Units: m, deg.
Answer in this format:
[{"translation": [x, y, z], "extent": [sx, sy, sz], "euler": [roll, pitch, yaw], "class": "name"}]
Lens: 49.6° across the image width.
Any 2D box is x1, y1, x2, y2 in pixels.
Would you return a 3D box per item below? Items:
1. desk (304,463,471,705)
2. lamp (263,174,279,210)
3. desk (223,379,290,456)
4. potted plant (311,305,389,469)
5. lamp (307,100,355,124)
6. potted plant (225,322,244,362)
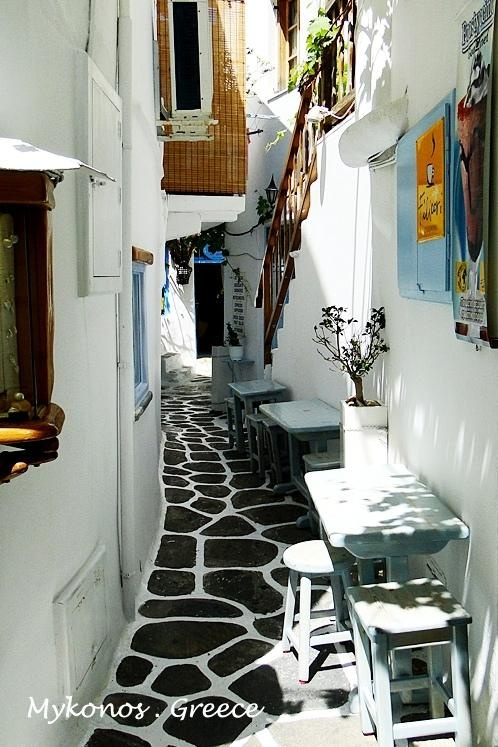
[{"translation": [0.678, 1.010, 2.678], "extent": [0.394, 0.596, 0.807], "euler": [-3, 14, -3], "class": "desk"}, {"translation": [0.420, -3.287, 9.755], "extent": [0.208, 0.619, 0.522], "euler": [-2, 4, 3], "class": "lamp"}, {"translation": [0.016, 0.520, 7.491], "extent": [0.776, 1.397, 0.897], "euler": [-6, 11, -22], "class": "desk"}, {"translation": [0.846, 0.034, 4.435], "extent": [0.466, 1.229, 1.716], "euler": [-2, 4, 8], "class": "potted plant"}, {"translation": [0.751, -2.502, 5.207], "extent": [0.333, 0.172, 0.230], "euler": [-9, 18, -10], "class": "lamp"}, {"translation": [-0.270, -0.605, 10.397], "extent": [0.338, 0.701, 1.343], "euler": [-2, 4, -3], "class": "potted plant"}]
